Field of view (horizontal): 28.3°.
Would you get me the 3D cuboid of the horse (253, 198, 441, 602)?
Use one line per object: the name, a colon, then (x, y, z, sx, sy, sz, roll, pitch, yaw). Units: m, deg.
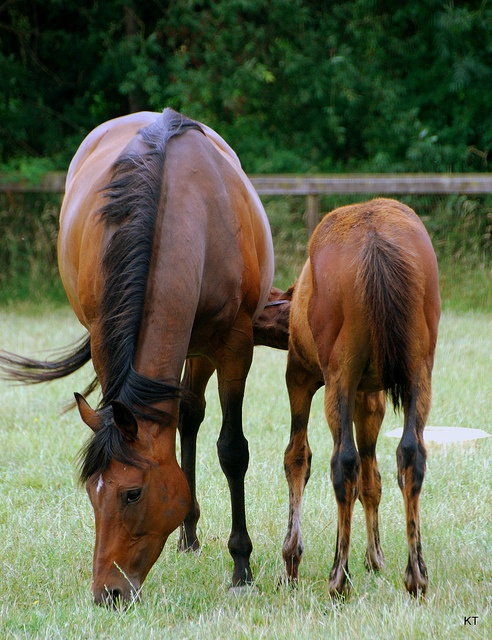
horse: (0.470, 0.323, 5.164, 0.458, 2.171, 2.270, -2, -4, -6)
